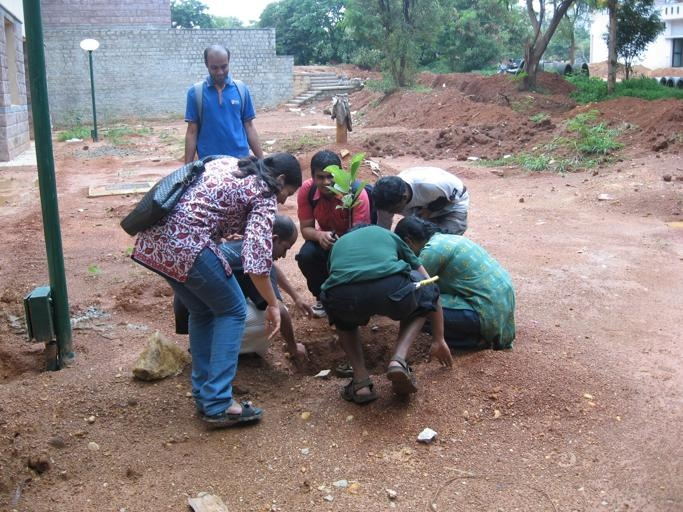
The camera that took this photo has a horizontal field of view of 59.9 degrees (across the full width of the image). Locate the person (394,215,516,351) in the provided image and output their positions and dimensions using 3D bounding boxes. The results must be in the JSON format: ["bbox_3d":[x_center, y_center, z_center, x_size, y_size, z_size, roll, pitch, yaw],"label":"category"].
[{"bbox_3d":[0.995,0.194,4.993,1.138,1.229,0.862,-1,11,36],"label":"person"}]

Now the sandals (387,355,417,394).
[{"bbox_3d":[0.411,0.808,4.025,0.147,0.341,0.138,-8,54,6],"label":"sandals"}]

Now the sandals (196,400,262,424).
[{"bbox_3d":[-0.760,1.027,3.929,0.377,0.123,0.172,-5,16,-22],"label":"sandals"}]

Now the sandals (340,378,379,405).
[{"bbox_3d":[0.125,0.948,4.181,0.128,0.119,0.300,-5,7,-24],"label":"sandals"}]

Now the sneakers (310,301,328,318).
[{"bbox_3d":[-0.228,0.496,5.548,0.094,0.096,0.220,-1,18,-11],"label":"sneakers"}]

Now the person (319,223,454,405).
[{"bbox_3d":[0.343,0.433,4.282,0.906,0.821,1.281,-13,39,11],"label":"person"}]

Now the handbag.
[{"bbox_3d":[-1.125,-0.368,3.817,0.269,0.428,0.527,17,25,39],"label":"handbag"}]

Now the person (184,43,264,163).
[{"bbox_3d":[-1.134,-1.407,5.460,0.703,1.010,0.503,-6,21,-14],"label":"person"}]

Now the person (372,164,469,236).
[{"bbox_3d":[0.671,-0.503,5.349,0.914,0.826,0.627,-5,13,-33],"label":"person"}]

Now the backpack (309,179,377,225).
[{"bbox_3d":[0.000,-0.494,5.371,0.505,0.439,0.411,-4,29,-11],"label":"backpack"}]
